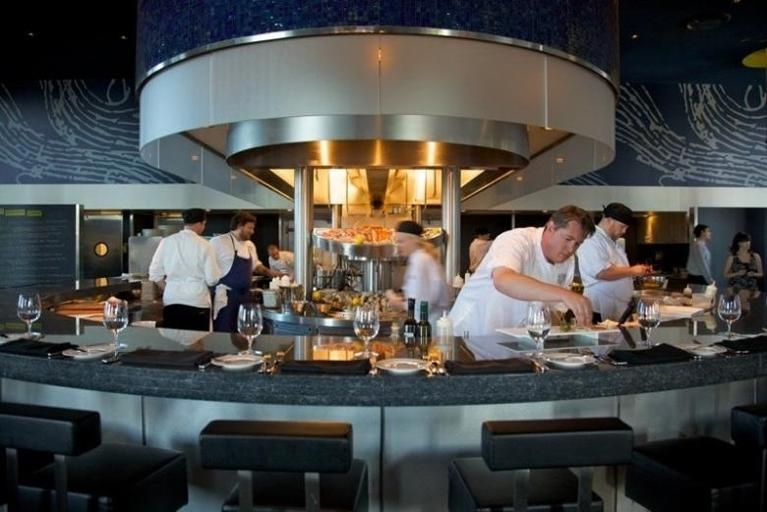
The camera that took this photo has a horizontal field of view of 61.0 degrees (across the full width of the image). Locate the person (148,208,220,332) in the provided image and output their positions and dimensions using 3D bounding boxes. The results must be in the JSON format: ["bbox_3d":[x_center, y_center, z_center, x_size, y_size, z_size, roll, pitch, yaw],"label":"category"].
[{"bbox_3d":[-1.837,0.130,6.023,0.603,1.119,0.331,0,1,-16],"label":"person"}]

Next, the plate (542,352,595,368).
[{"bbox_3d":[1.081,0.620,3.809,0.296,0.062,0.188,0,1,9],"label":"plate"}]

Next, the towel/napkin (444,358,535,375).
[{"bbox_3d":[0.599,0.633,3.707,0.303,0.050,0.181,-2,3,-3],"label":"towel/napkin"}]

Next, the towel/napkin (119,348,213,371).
[{"bbox_3d":[-1.290,0.612,3.857,0.551,0.074,0.245,0,1,4],"label":"towel/napkin"}]

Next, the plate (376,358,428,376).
[{"bbox_3d":[0.106,0.640,3.749,0.240,0.062,0.246,-1,1,-41],"label":"plate"}]

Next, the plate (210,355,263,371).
[{"bbox_3d":[-0.855,0.625,3.774,0.298,0.055,0.161,0,1,-4],"label":"plate"}]

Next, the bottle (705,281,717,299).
[{"bbox_3d":[3.054,0.319,6.093,0.057,0.211,0.071,23,-1,-10],"label":"bottle"}]

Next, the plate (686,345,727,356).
[{"bbox_3d":[1.972,0.581,3.980,0.240,0.046,0.169,0,1,8],"label":"plate"}]

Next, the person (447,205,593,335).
[{"bbox_3d":[0.946,0.113,4.476,0.960,0.906,0.652,0,1,4],"label":"person"}]

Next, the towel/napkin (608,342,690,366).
[{"bbox_3d":[1.591,0.596,3.868,0.537,0.072,0.186,0,1,-14],"label":"towel/napkin"}]
